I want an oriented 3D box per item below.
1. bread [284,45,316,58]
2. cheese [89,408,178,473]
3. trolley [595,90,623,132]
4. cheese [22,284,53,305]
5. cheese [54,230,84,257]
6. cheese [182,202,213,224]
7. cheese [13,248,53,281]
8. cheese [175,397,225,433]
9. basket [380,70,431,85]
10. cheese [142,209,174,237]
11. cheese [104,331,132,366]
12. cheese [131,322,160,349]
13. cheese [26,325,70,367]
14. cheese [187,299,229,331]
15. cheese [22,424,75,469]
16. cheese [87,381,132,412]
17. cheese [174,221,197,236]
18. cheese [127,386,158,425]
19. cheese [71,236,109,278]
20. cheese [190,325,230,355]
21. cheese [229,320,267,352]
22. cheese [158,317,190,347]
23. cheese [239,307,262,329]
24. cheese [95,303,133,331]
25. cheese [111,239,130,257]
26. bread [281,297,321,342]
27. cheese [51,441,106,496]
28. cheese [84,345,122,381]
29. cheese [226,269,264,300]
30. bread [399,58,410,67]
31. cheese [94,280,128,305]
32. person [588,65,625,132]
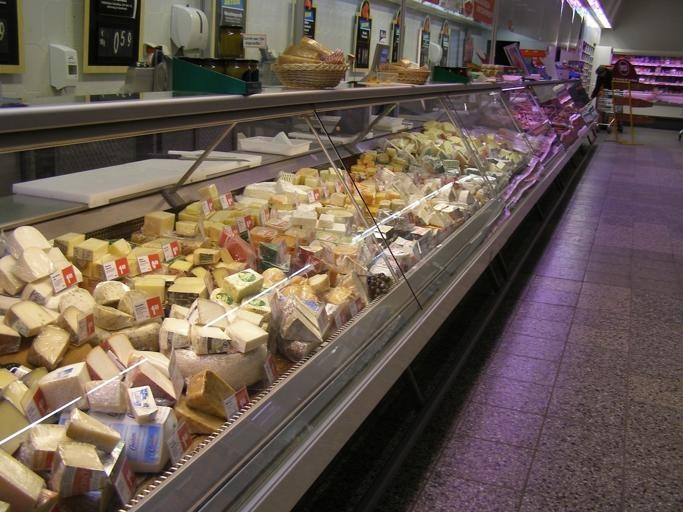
[{"bbox_3d":[-0.164,-0.795,1.699,0.129,0.032,0.075,20,51,22],"label":"bread"},{"bbox_3d":[-0.403,0.356,0.850,0.163,0.090,0.114,1,15,1],"label":"cheese"},{"bbox_3d":[7.790,-4.210,12.571,0.887,0.815,1.027,20,36,27],"label":"trolley"},{"bbox_3d":[-0.721,0.089,1.023,0.067,0.028,0.046,15,34,1],"label":"cheese"},{"bbox_3d":[-0.767,-0.040,1.227,0.067,0.039,0.093,6,18,2],"label":"cheese"},{"bbox_3d":[-0.557,-0.164,1.640,0.094,0.041,0.119,4,34,20],"label":"cheese"},{"bbox_3d":[-0.752,0.024,1.067,0.083,0.061,0.075,-29,84,-49],"label":"cheese"},{"bbox_3d":[-0.317,0.354,0.939,0.104,0.045,0.052,4,18,7],"label":"cheese"},{"bbox_3d":[0.397,-1.056,2.564,0.243,0.064,0.228,4,13,22],"label":"basket"},{"bbox_3d":[-0.654,-0.104,1.536,0.097,0.079,0.096,18,29,29],"label":"cheese"},{"bbox_3d":[-0.506,0.207,0.978,0.050,0.017,0.072,-6,48,-45],"label":"cheese"},{"bbox_3d":[-0.474,0.196,1.033,0.059,0.046,0.055,4,30,-18],"label":"cheese"},{"bbox_3d":[-0.617,0.190,0.908,0.094,0.064,0.093,-8,17,-37],"label":"cheese"},{"bbox_3d":[-0.346,0.151,1.112,0.124,0.064,0.083,14,25,-19],"label":"cheese"},{"bbox_3d":[-0.505,0.318,0.730,0.061,0.020,0.058,24,27,-4],"label":"cheese"},{"bbox_3d":[-0.461,0.278,0.872,0.082,0.053,0.078,-10,-20,28],"label":"cheese"},{"bbox_3d":[-0.554,-0.099,1.523,0.065,0.037,0.062,-5,13,-34],"label":"cheese"},{"bbox_3d":[-0.403,0.303,0.876,0.052,0.021,0.095,5,23,-29],"label":"cheese"},{"bbox_3d":[-0.695,0.014,1.239,0.074,0.079,0.126,12,10,11],"label":"cheese"},{"bbox_3d":[-0.318,0.207,1.041,0.075,0.042,0.072,4,22,-21],"label":"cheese"},{"bbox_3d":[-0.248,0.203,1.099,0.081,0.055,0.089,14,22,34],"label":"cheese"},{"bbox_3d":[-0.401,0.185,1.051,0.073,0.043,0.064,1,55,-10],"label":"cheese"},{"bbox_3d":[-0.246,0.161,1.165,0.065,0.029,0.044,18,9,0],"label":"cheese"},{"bbox_3d":[-0.546,0.144,1.052,0.071,0.033,0.066,35,14,18],"label":"cheese"},{"bbox_3d":[-0.664,-0.021,1.298,0.024,0.038,0.063,-26,21,-11],"label":"cheese"},{"bbox_3d":[-0.119,0.191,1.276,0.131,0.114,0.114,-1,17,-17],"label":"bread"},{"bbox_3d":[-0.450,0.357,0.733,0.081,0.074,0.071,-8,21,-28],"label":"cheese"},{"bbox_3d":[-0.509,0.229,0.959,0.086,0.049,0.080,58,13,23],"label":"cheese"},{"bbox_3d":[-0.284,0.084,1.260,0.097,0.043,0.140,10,19,25],"label":"cheese"},{"bbox_3d":[0.408,-1.219,2.741,0.068,0.055,0.202,4,17,6],"label":"bread"},{"bbox_3d":[-0.590,0.082,1.093,0.078,0.024,0.061,28,40,36],"label":"cheese"},{"bbox_3d":[7.452,-4.412,12.428,0.656,1.676,0.906,8,23,9],"label":"person"}]
